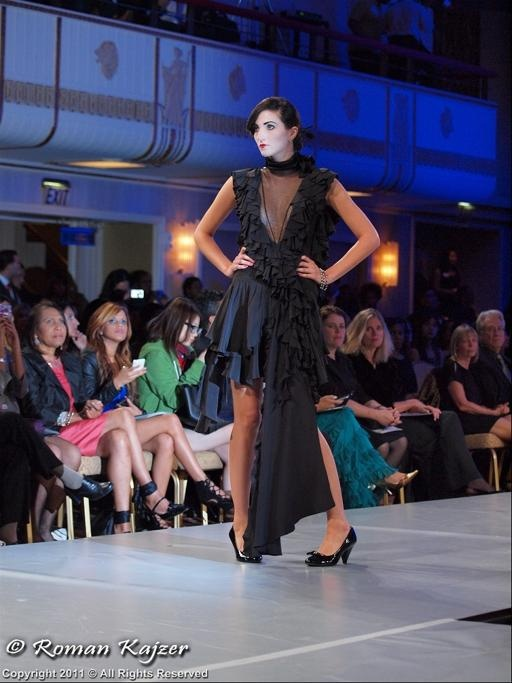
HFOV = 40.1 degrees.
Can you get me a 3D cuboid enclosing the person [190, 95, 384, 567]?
[{"bbox_3d":[0.072,-0.032,2.094,0.573,1.372,0.286,1,0,7],"label":"person"}]
